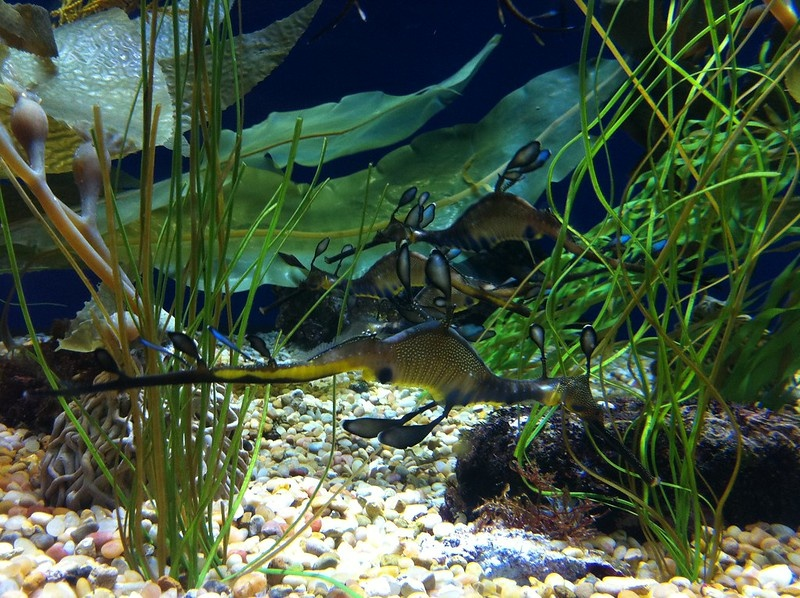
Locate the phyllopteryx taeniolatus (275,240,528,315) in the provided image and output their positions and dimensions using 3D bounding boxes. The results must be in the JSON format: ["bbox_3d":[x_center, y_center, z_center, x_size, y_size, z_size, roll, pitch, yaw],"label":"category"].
[{"bbox_3d":[0.014,-0.065,2.567,0.796,0.204,0.158,3,3,16],"label":"phyllopteryx taeniolatus"}]
